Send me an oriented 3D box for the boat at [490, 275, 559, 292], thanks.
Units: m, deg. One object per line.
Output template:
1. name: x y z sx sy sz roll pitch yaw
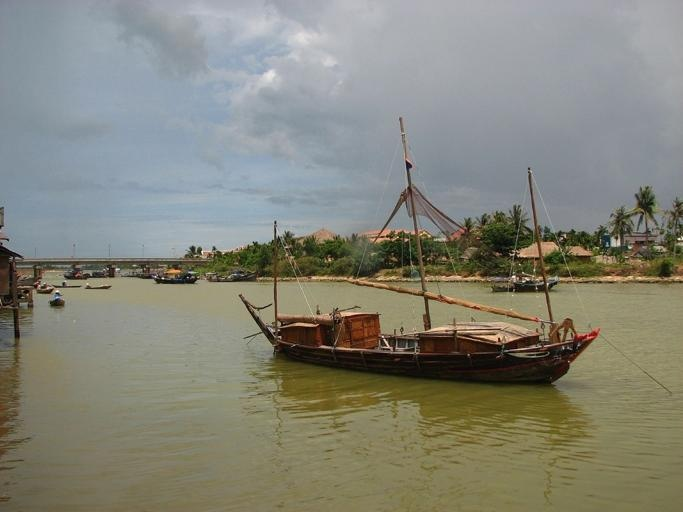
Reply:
1. boat: 31.396 4.671 99.109 12.083 3.159 4.218 -1 5 16
